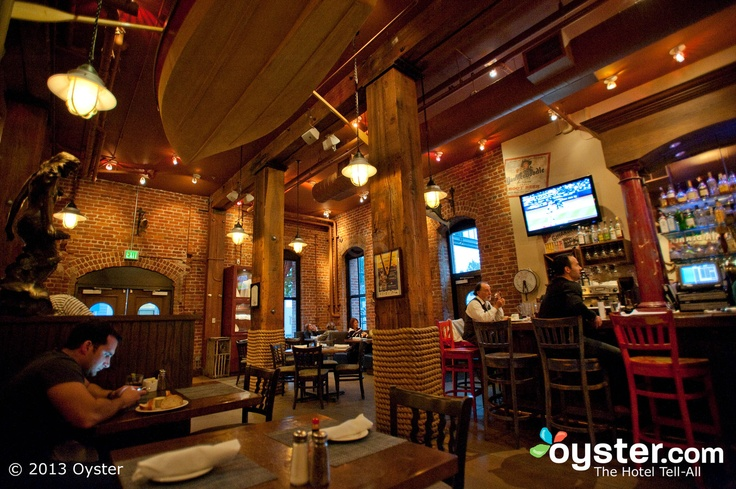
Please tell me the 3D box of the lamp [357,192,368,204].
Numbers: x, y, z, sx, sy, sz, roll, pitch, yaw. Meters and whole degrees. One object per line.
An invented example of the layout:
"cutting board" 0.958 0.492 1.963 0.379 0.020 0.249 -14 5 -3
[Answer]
"lamp" -0.126 -1.121 11.349 0.211 0.094 0.287 -2 -11 -11

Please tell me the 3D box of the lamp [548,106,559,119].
"lamp" 3.151 -2.215 8.169 0.229 0.061 0.159 22 -16 -33

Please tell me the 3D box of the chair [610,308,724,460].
"chair" 3.220 1.418 5.154 1.120 1.605 0.944 -14 14 -37

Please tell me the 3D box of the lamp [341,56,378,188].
"lamp" -0.124 -1.518 5.998 0.319 1.296 0.312 -1 0 28

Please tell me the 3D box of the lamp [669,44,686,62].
"lamp" 4.479 -2.756 6.947 0.209 0.238 0.199 -1 0 28

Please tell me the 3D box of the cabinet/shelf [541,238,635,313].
"cabinet/shelf" 3.590 0.503 7.851 1.080 0.978 0.348 -12 -2 33

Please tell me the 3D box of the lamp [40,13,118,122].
"lamp" -3.093 -2.028 5.332 0.652 1.188 0.642 5 -8 11

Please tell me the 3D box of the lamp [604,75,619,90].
"lamp" 3.763 -2.491 7.449 0.179 0.150 0.175 6 -10 -21

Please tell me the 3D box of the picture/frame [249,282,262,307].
"picture/frame" -1.952 0.875 8.420 0.059 0.575 0.508 1 -6 -31

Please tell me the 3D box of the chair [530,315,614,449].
"chair" 2.390 1.548 5.614 0.872 1.531 0.936 0 13 27

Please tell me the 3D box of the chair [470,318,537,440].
"chair" 1.754 1.585 6.107 0.693 1.221 0.685 1 -7 -21

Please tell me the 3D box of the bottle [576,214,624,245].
"bottle" 3.786 -0.240 7.792 0.107 0.288 0.463 14 -17 -33

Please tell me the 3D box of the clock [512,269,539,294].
"clock" 2.831 0.657 8.585 0.152 0.434 0.455 5 -6 -33

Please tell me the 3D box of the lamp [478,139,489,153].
"lamp" 2.178 -1.880 9.115 0.144 0.139 0.190 6 -11 9

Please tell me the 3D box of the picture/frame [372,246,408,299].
"picture/frame" 0.283 0.337 5.820 0.096 0.649 0.563 9 -15 -37

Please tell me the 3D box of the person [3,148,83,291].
"person" -3.698 -0.231 5.415 0.945 1.527 0.283 -11 13 -27

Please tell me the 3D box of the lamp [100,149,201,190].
"lamp" -4.403 -1.485 9.750 1.693 0.352 1.047 -2 -50 -28
